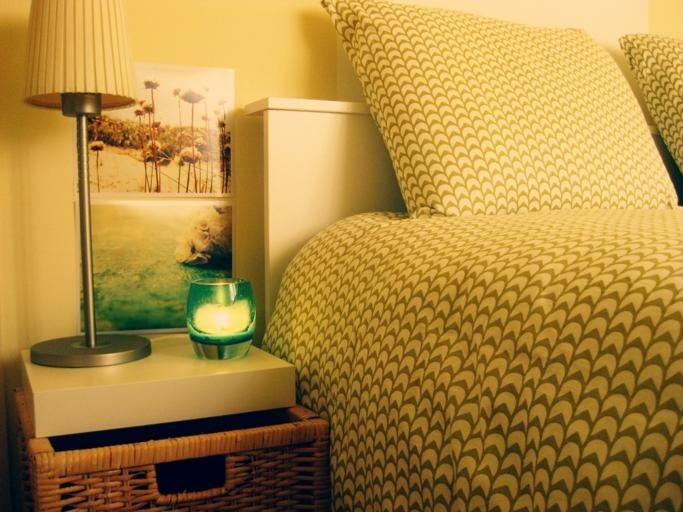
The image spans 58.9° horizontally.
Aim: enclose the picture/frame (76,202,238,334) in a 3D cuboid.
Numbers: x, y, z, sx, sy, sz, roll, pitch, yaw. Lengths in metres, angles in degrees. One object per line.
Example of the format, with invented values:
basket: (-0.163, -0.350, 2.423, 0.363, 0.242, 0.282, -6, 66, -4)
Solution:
picture/frame: (-0.450, 0.031, 1.419, 0.292, 0.381, 0.017, 0, 0, -25)
